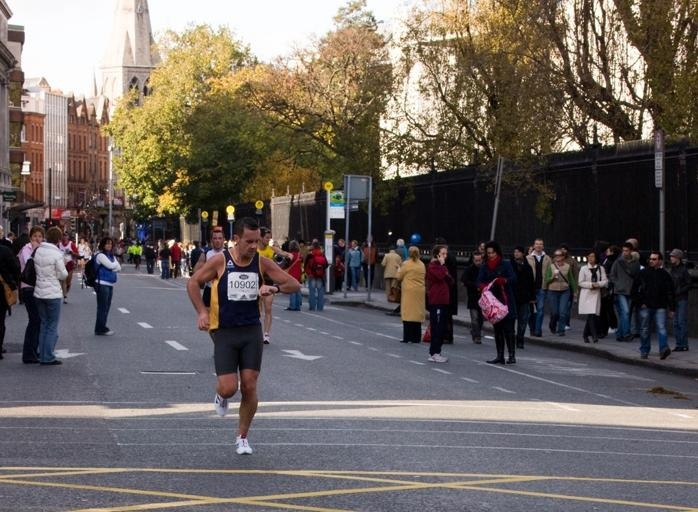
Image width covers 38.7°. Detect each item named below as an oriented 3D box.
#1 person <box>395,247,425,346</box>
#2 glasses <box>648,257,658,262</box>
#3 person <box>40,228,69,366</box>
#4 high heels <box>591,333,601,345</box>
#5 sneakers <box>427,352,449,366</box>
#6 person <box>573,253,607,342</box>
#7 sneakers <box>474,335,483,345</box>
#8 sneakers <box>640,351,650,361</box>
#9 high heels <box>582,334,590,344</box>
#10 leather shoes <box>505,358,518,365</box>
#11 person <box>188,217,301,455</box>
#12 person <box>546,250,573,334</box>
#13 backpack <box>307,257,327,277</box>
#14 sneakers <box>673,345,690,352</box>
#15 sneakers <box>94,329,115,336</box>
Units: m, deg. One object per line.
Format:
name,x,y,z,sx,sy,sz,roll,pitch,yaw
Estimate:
person,1.303,0.883,21.312,0.598,2.125,1.257,1,2,3
glasses,5.908,0.079,19.444,0.147,0.129,0.170,2,3,12
person,-5.142,0.688,17.264,0.491,2.329,1.014,0,3,-17
high heels,5.316,1.862,21.691,0.097,0.116,0.286,-4,-19,-3
sneakers,1.636,1.952,18.679,0.367,0.186,0.152,1,-1,1
person,5.300,0.927,22.034,0.619,1.958,0.930,2,3,20
sneakers,2.827,1.910,22.169,0.181,0.150,0.244,9,4,-3
sneakers,5.720,1.988,19.446,0.088,0.117,0.250,-1,-2,1
high heels,5.155,1.863,21.844,0.109,0.128,0.308,1,-4,-3
leather shoes,3.005,2.001,18.657,0.107,0.152,0.203,3,1,-35
person,-1.203,0.881,10.887,1.116,2.568,0.691,1,2,-14
person,4.914,0.867,23.407,0.621,2.051,0.757,2,3,16
backpack,-0.995,0.374,29.861,0.462,0.719,0.651,2,-5,-1
sneakers,6.696,1.904,20.264,0.316,0.242,0.112,3,1,6
sneakers,-5.259,1.693,21.597,0.422,0.199,0.150,-1,-3,7
